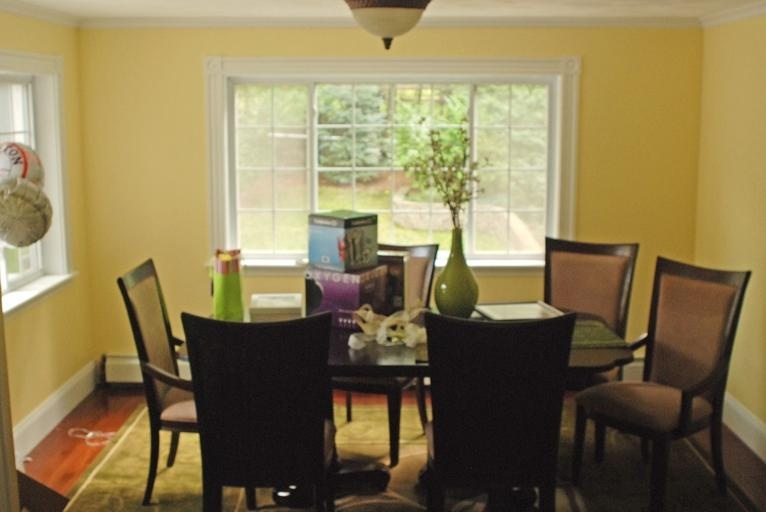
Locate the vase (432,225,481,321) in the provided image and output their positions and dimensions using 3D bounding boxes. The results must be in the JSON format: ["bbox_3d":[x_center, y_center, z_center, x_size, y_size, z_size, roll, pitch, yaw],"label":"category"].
[{"bbox_3d":[0.412,0.090,3.853,0.220,0.507,0.224,8,14,35],"label":"vase"}]

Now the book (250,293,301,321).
[{"bbox_3d":[-0.593,0.250,3.774,0.196,0.118,0.193,0,2,-14],"label":"book"}]

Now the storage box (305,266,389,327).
[{"bbox_3d":[-0.204,0.216,4.024,0.522,0.282,0.522,-3,-19,-31],"label":"storage box"}]

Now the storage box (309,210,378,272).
[{"bbox_3d":[-0.231,-0.088,3.987,0.412,0.291,0.397,-1,11,-14],"label":"storage box"}]
